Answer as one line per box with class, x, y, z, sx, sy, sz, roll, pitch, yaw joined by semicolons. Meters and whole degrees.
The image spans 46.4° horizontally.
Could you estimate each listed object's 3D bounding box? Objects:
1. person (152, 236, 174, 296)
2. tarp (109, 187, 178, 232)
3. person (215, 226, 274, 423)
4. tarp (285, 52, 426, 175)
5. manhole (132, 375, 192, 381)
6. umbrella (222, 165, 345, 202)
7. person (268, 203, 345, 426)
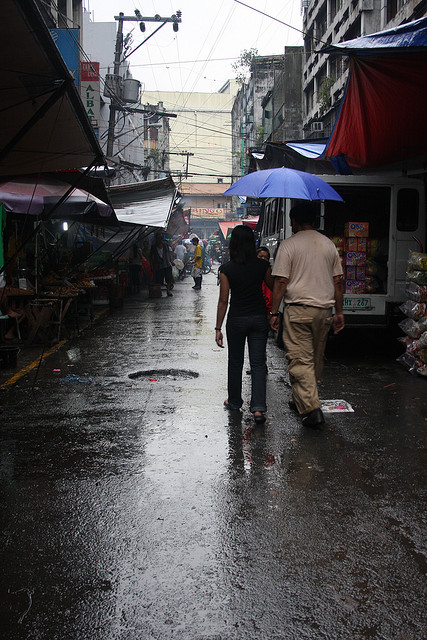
person;-2.268;-2.346;22.023;0.779;2.304;1.035;0;2;-1
tarp;-2.139;-3.570;14.841;2.228;1.703;1.674;2;7;-6
person;0.328;0.029;5.241;0.589;1.986;0.536;0;2;2
tarp;2.451;-3.366;7.411;2.565;1.712;2.056;-2;10;-2
manhole;-0.735;0.846;7.303;0.770;0.029;0.391;0;2;-4
umbrella;0.925;-1.787;6.459;1.331;0.598;0.901;-1;2;-14
person;0.966;0.059;5.062;0.750;1.963;0.550;0;2;-2
